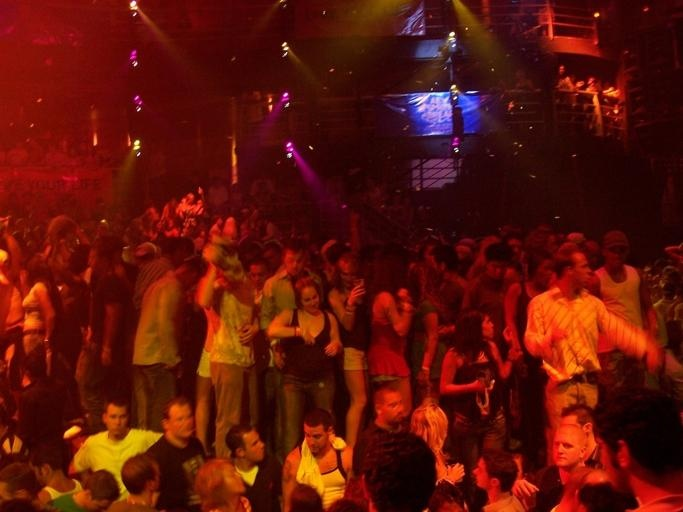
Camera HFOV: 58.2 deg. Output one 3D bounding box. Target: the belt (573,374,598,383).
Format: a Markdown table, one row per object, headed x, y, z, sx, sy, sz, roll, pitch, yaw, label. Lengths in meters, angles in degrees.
| x | y | z | sx | sy | sz | roll | pitch | yaw | label |
| --- | --- | --- | --- | --- | --- | --- | --- | --- | --- |
| 2.477 | 1.227 | 6.271 | 0.173 | 0.067 | 0.125 | -2 | -4 | -5 | belt |

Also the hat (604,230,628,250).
| x | y | z | sx | sy | sz | roll | pitch | yaw | label |
| --- | --- | --- | --- | --- | --- | --- | --- | --- | --- |
| 3.074 | -0.189 | 6.891 | 0.225 | 0.180 | 0.234 | 5 | -3 | 18 | hat |
